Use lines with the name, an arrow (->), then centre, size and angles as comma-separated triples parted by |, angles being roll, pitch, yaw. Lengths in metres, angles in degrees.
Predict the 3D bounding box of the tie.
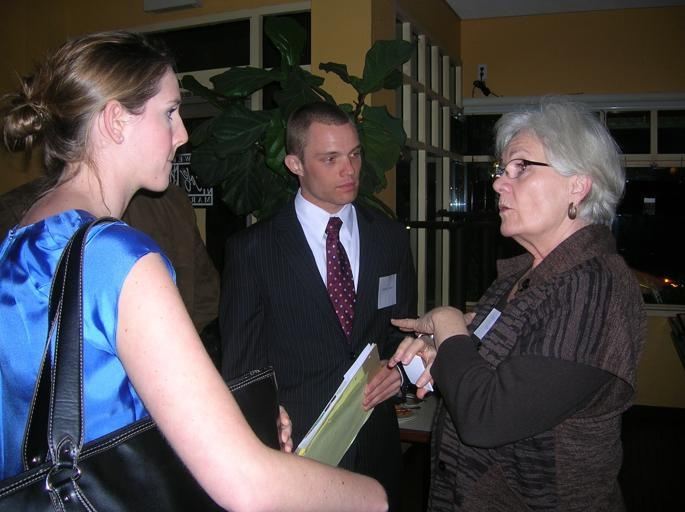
tie -> -0.012, 0.074, 2.322 | 0.077, 0.517, 0.028 | 4, -24, -20
